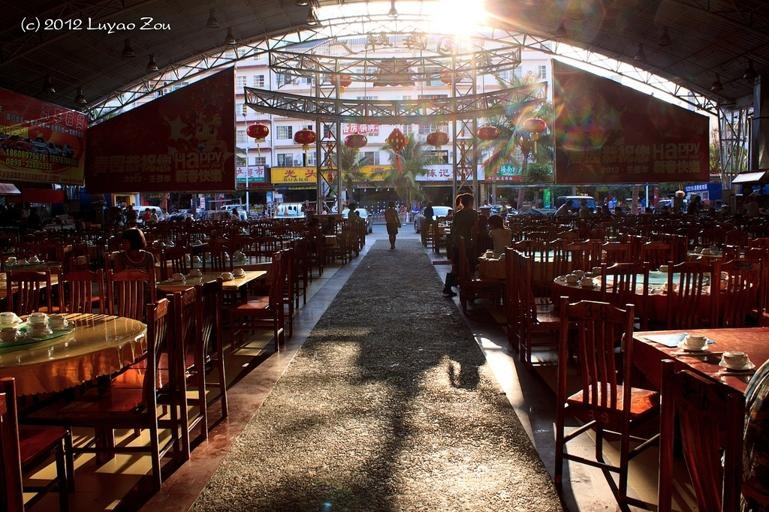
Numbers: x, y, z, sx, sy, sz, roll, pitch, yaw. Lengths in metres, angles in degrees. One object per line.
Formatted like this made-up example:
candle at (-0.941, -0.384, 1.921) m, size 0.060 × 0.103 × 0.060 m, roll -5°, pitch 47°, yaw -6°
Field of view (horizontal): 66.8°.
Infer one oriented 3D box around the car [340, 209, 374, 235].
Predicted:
car at (-1.129, -1.646, 26.486) m, size 0.914 × 0.813 × 2.083 m, roll 0°, pitch -2°, yaw 4°

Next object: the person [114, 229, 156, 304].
person at (-3.092, 0.166, 7.184) m, size 0.491 × 0.993 × 0.518 m, roll -5°, pitch 7°, yaw -27°

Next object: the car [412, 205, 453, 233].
car at (2.304, -1.674, 26.382) m, size 0.923 × 0.789 × 2.251 m, roll -1°, pitch 8°, yaw -6°

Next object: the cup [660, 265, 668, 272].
cup at (3.449, 0.152, 7.208) m, size 0.103 × 0.077 × 0.073 m, roll 1°, pitch 5°, yaw 11°
